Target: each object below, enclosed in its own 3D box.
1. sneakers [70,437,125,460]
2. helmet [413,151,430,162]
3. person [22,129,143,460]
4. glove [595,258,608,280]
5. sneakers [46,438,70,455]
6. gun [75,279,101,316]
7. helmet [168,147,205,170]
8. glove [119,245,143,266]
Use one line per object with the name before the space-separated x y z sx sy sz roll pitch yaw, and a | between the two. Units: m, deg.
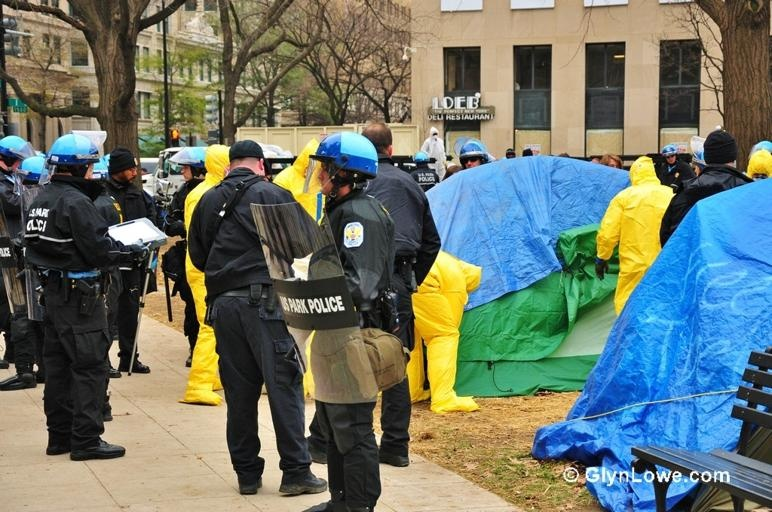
sneakers | -3.385 2.255 14.621 0.644 0.220 0.238 -1 0 -14
helmet | 0.725 -1.910 24.045 0.311 0.197 0.406 0 9 -4
person | -3.628 0.470 14.615 1.147 3.771 0.598 0 4 -5
glove | 3.051 0.179 17.465 0.195 0.273 0.279 -5 33 13
sneakers | -3.866 2.234 14.677 0.308 0.182 0.146 -2 7 -16
gun | -3.494 0.462 14.599 0.339 0.420 0.312 1 -12 -1
helmet | -2.854 -1.397 17.854 0.480 0.138 0.322 4 6 4
glove | -3.047 -0.022 14.877 0.332 0.189 0.522 -1 -10 -4
